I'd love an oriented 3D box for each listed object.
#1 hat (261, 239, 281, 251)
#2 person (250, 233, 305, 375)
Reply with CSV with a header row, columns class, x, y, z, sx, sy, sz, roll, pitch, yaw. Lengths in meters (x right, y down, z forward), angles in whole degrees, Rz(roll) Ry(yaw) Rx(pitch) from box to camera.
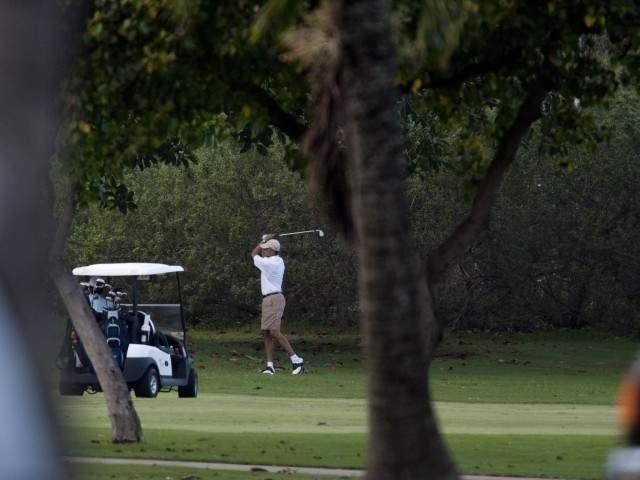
class,x,y,z,sx,sy,sz,roll,pitch,yaw
hat,-0.852,0.088,21.251,0.261,0.164,0.205,12,-2,19
person,-0.712,1.109,21.161,0.832,2.427,0.630,-5,-15,17
